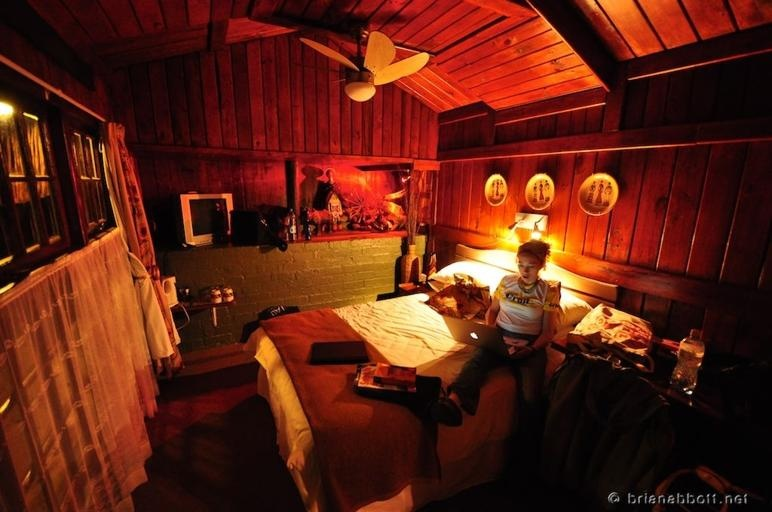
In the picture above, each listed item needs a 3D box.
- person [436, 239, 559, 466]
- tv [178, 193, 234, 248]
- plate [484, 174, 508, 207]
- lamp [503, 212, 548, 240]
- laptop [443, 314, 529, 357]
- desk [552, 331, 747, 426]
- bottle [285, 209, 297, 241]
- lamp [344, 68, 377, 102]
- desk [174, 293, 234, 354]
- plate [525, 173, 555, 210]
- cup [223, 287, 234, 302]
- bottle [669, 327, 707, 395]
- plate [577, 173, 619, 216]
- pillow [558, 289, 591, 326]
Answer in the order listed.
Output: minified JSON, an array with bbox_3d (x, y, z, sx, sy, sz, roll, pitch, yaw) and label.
[{"bbox_3d":[1.077,0.661,4.160,0.784,1.268,2.061,10,26,35],"label":"person"},{"bbox_3d":[-1.941,-0.390,5.268,0.269,0.466,0.506,12,17,34],"label":"tv"},{"bbox_3d":[1.156,-0.727,5.398,0.067,0.317,0.261,-4,33,-34],"label":"plate"},{"bbox_3d":[1.486,-0.306,5.072,0.089,0.260,0.378,-8,15,-33],"label":"lamp"},{"bbox_3d":[0.760,0.560,3.994,0.356,0.285,0.465,-29,26,-37],"label":"laptop"},{"bbox_3d":[2.187,0.855,3.835,1.079,0.378,0.766,7,11,37],"label":"desk"},{"bbox_3d":[-1.079,-0.350,5.645,0.113,0.359,0.110,0,10,0],"label":"bottle"},{"bbox_3d":[-0.213,-1.513,4.382,0.240,0.252,0.239,12,-31,-25],"label":"lamp"},{"bbox_3d":[-1.888,0.715,5.170,0.603,0.666,0.370,-4,10,-23],"label":"desk"},{"bbox_3d":[1.523,-0.644,4.952,0.070,0.333,0.303,-3,6,-37],"label":"plate"},{"bbox_3d":[-1.653,0.409,5.238,0.105,0.137,0.145,6,8,39],"label":"cup"},{"bbox_3d":[2.252,0.754,3.684,0.185,0.436,0.437,7,11,33],"label":"bottle"},{"bbox_3d":[1.943,-0.568,4.508,0.083,0.345,0.342,-2,4,-39],"label":"plate"},{"bbox_3d":[1.710,0.485,4.524,0.289,0.140,0.303,-7,10,13],"label":"pillow"}]
